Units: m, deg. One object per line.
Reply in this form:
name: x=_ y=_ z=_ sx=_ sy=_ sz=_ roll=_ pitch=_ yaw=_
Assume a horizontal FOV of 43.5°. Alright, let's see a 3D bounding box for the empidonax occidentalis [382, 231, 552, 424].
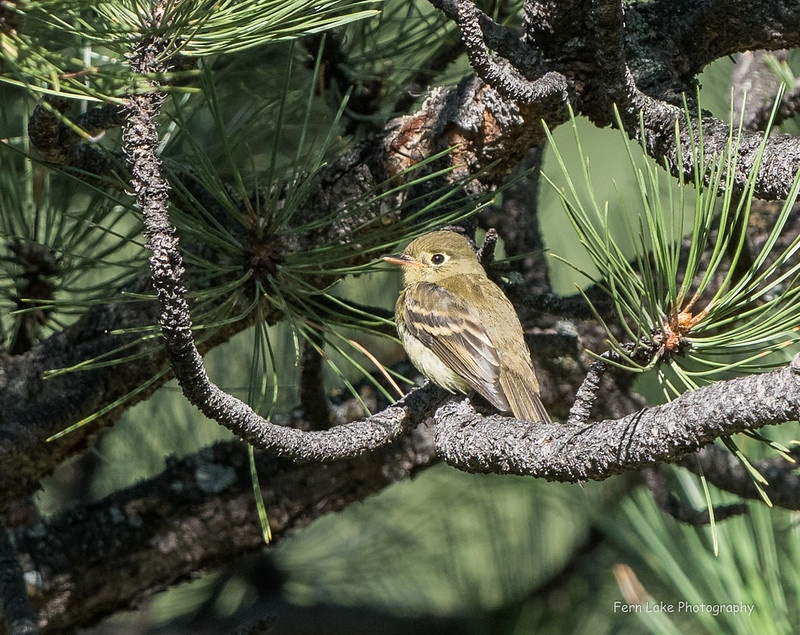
empidonax occidentalis: x=0.186 y=0.017 z=5.543 sx=0.725 sy=1.225 sz=1.286 roll=1 pitch=4 yaw=14
